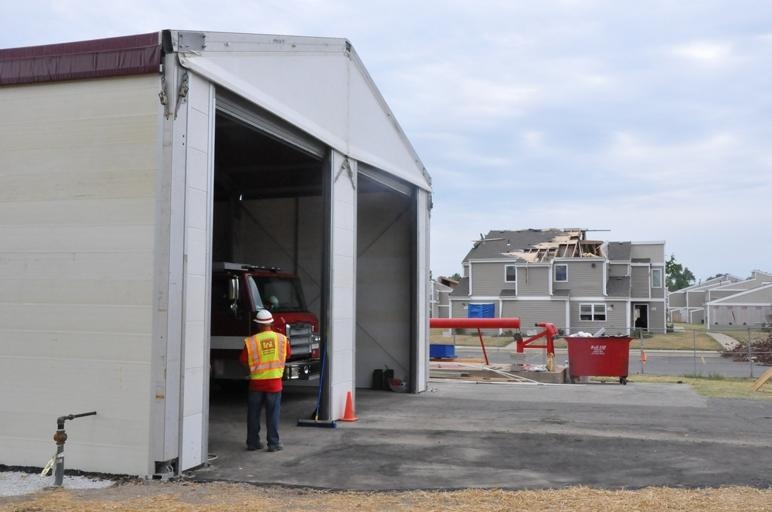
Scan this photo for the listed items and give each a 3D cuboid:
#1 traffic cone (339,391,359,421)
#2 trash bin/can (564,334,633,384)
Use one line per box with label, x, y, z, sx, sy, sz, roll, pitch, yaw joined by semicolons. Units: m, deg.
traffic cone;-0.773;3.267;20.705;0.346;0.633;0.531;-2;-8;22
trash bin/can;6.241;2.945;27.819;2.509;1.534;1.342;-1;-11;14
